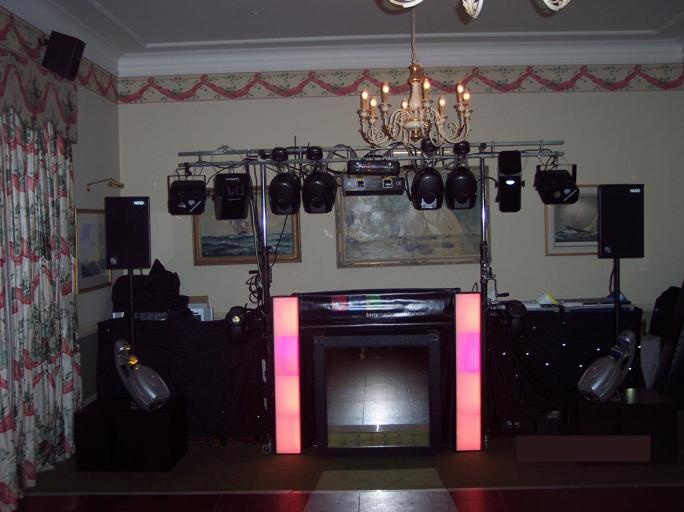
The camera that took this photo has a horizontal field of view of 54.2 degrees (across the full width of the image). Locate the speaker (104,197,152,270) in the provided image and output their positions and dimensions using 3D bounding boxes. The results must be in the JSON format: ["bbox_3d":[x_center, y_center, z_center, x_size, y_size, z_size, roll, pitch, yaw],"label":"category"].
[{"bbox_3d":[-1.975,-0.212,6.139,0.398,0.662,0.146,-1,2,-12],"label":"speaker"}]

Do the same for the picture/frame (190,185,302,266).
[{"bbox_3d":[-1.031,-0.320,7.060,0.803,0.640,0.036,-1,4,1],"label":"picture/frame"}]

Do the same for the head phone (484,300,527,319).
[{"bbox_3d":[1.539,0.500,6.201,0.253,0.121,0.194,-2,7,-19],"label":"head phone"}]

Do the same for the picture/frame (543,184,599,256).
[{"bbox_3d":[2.541,-0.415,7.347,0.714,0.907,0.032,-1,-1,2],"label":"picture/frame"}]
